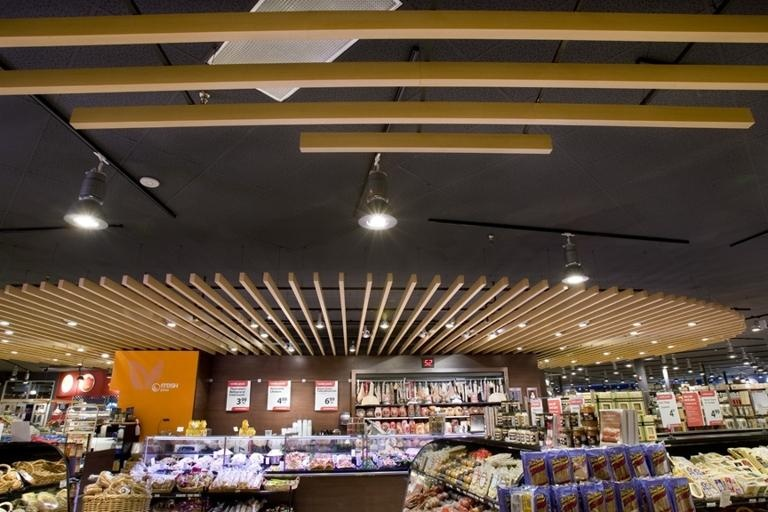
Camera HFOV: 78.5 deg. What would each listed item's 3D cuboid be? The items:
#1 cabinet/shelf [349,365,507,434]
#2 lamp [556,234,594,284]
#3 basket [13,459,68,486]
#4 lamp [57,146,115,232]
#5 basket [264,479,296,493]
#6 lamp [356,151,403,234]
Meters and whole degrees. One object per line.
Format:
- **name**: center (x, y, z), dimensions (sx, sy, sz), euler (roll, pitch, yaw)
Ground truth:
- **cabinet/shelf**: center (1.241, 3.941, 13.026), dimensions (4.227, 1.640, 1.052), euler (1, -21, -9)
- **lamp**: center (3.005, 0.077, 7.559), dimensions (0.348, 0.942, 1.075), euler (-12, -22, 22)
- **basket**: center (-4.318, 2.720, 5.940), dimensions (0.480, 0.186, 0.342), euler (4, -17, -1)
- **lamp**: center (-3.955, -0.943, 6.233), dimensions (0.557, 0.925, 0.568), euler (-35, -35, 31)
- **basket**: center (-1.552, 3.435, 7.060), dimensions (0.341, 0.107, 0.241), euler (3, -22, -1)
- **lamp**: center (-0.102, -0.884, 5.659), dimensions (0.588, 0.804, 0.524), euler (6, 5, 15)
